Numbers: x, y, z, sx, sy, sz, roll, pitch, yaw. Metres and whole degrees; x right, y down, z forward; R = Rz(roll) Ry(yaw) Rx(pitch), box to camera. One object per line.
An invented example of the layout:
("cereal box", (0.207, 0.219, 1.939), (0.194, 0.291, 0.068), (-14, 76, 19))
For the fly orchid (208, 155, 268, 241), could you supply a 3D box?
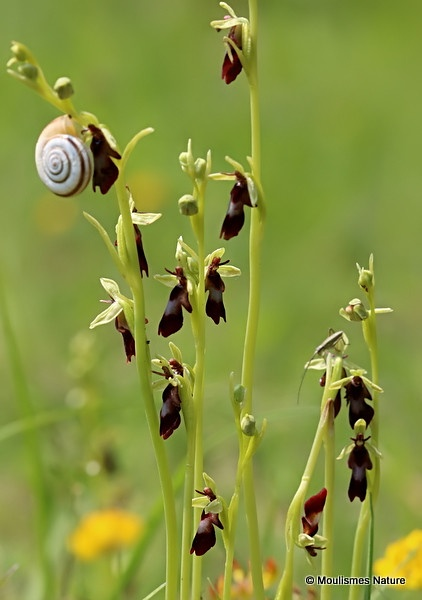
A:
("fly orchid", (0.030, -0.119, 0.866), (0.060, 0.058, 0.108), (9, -79, 15))
